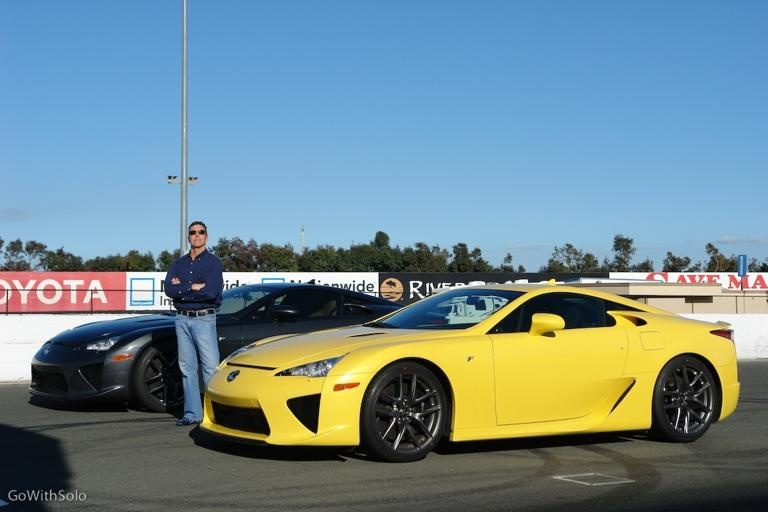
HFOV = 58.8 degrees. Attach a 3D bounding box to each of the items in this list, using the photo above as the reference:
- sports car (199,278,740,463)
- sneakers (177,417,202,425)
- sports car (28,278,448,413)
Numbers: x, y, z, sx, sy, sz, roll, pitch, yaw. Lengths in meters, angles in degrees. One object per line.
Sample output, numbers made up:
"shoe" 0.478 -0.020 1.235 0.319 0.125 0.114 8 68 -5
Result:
"sports car" 0.914 1.249 7.511 4.583 1.052 2.360 3 -6 -22
"sneakers" -2.400 2.046 8.416 0.281 0.092 0.128 8 -10 -18
"sports car" -2.446 1.228 9.733 4.196 0.948 2.070 1 -6 -27
